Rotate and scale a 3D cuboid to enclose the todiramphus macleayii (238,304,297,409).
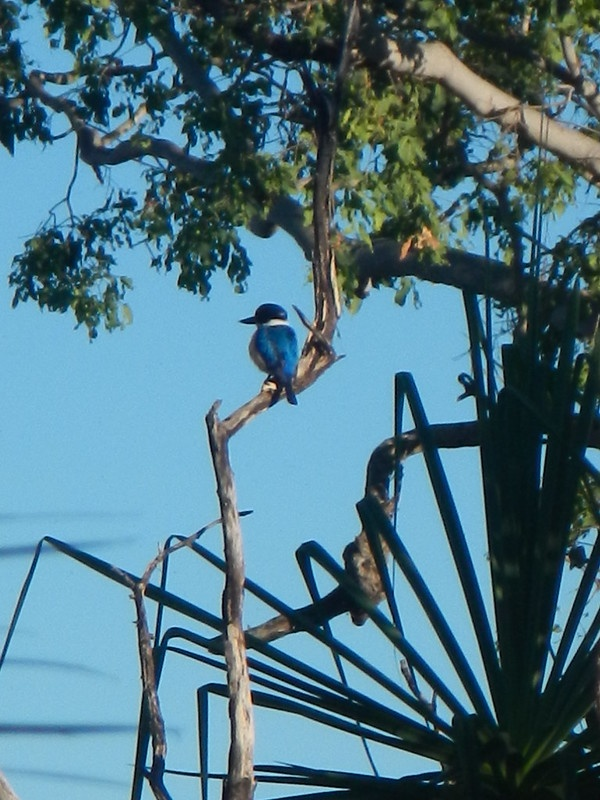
[{"bbox_3d":[-0.129,-0.210,11.558,0.159,0.701,0.273,-3,-13,-5],"label":"todiramphus macleayii"}]
